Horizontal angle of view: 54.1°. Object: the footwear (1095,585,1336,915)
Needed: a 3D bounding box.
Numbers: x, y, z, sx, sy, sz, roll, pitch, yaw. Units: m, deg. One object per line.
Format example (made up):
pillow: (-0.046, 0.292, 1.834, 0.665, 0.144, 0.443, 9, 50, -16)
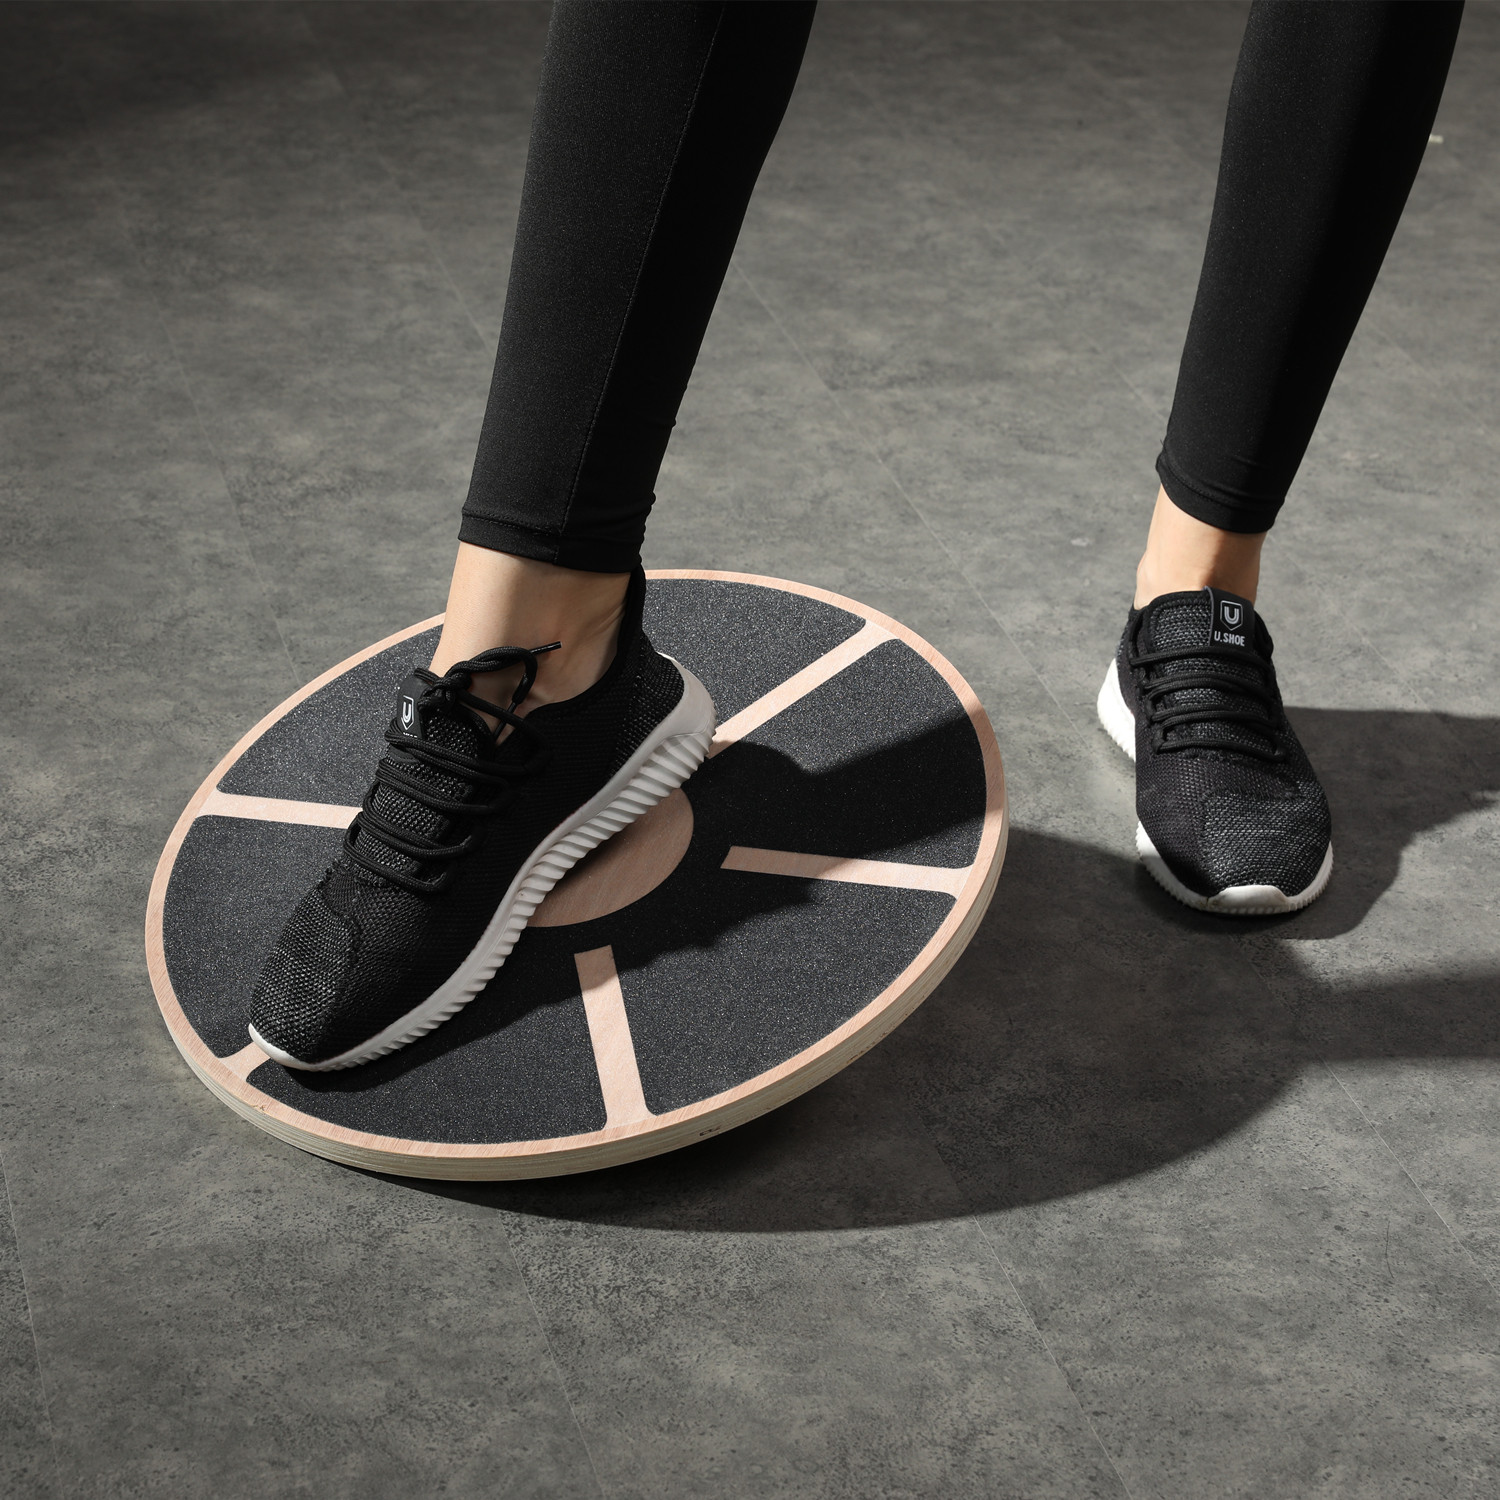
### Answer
footwear: (0.340, -0.008, 1.198, 0.152, 0.130, 0.304, -7, 36, 4)
